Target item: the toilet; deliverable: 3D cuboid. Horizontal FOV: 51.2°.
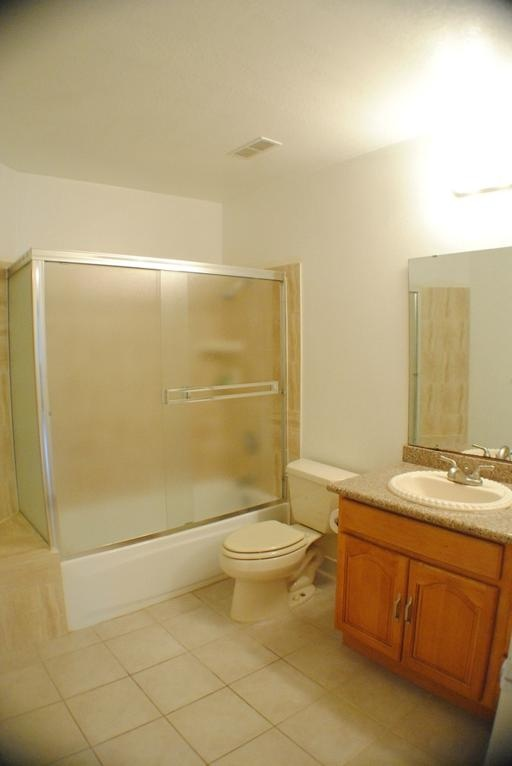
[{"bbox_3d":[0.044,0.738,2.794,0.758,0.862,0.458,-1,4,-41],"label":"toilet"}]
